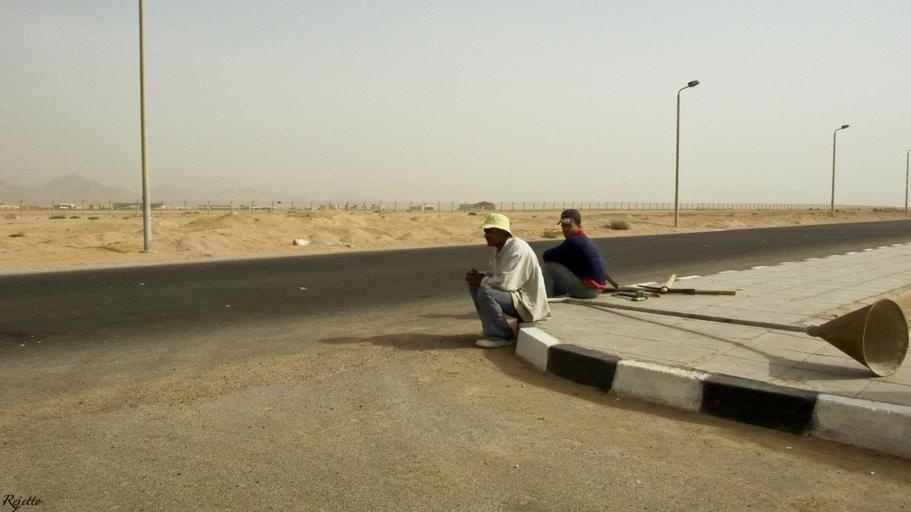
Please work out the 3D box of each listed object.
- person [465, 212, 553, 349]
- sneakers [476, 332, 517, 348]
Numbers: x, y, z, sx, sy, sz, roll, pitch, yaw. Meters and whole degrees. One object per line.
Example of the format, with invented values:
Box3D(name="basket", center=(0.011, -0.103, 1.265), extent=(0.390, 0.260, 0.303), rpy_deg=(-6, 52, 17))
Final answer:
Box3D(name="person", center=(0.823, 0.362, 7.347), extent=(1.104, 1.868, 0.607), rpy_deg=(-2, 15, -9))
Box3D(name="sneakers", center=(0.589, 1.248, 7.347), extent=(0.453, 0.139, 0.205), rpy_deg=(4, -2, -10))
